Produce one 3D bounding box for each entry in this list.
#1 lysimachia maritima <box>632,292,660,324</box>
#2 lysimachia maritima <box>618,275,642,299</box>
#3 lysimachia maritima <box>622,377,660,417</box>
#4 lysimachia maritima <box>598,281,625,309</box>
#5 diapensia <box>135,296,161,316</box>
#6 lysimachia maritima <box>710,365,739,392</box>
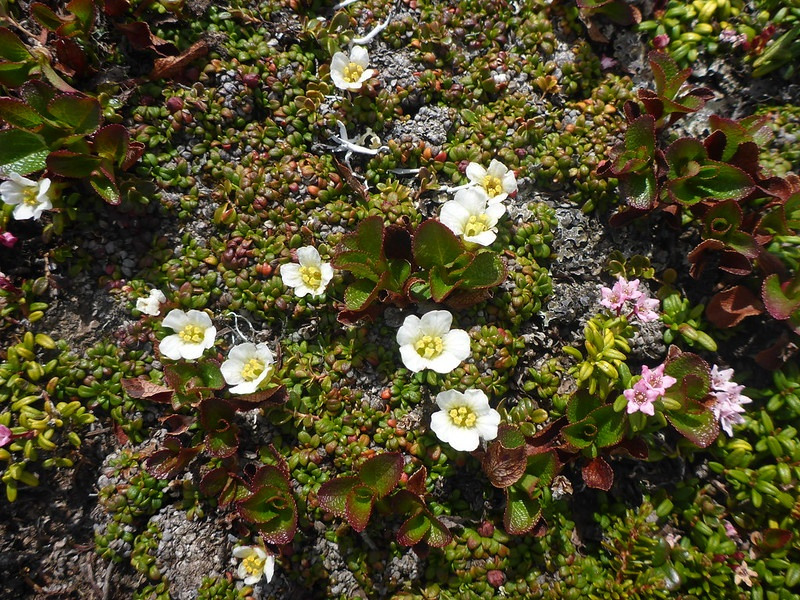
[{"bbox_3d":[2.077,0.079,5.967,0.231,0.107,0.262,-22,91,-7],"label":"lysimachia maritima"},{"bbox_3d":[1.935,-0.101,5.899,0.197,0.160,0.190,6,78,-1],"label":"lysimachia maritima"},{"bbox_3d":[1.939,0.794,5.709,0.251,0.290,0.269,5,78,-1],"label":"lysimachia maritima"},{"bbox_3d":[1.795,-0.040,5.919,0.201,0.085,0.213,-29,75,31],"label":"lysimachia maritima"},{"bbox_3d":[-2.177,0.047,6.021,0.156,0.160,0.071,2,54,5],"label":"diapensia"},{"bbox_3d":[2.698,0.671,5.891,0.227,0.139,0.230,-4,85,-10],"label":"lysimachia maritima"}]
